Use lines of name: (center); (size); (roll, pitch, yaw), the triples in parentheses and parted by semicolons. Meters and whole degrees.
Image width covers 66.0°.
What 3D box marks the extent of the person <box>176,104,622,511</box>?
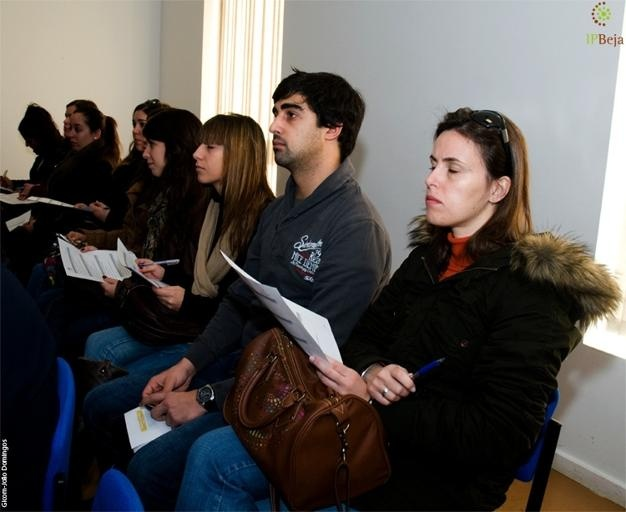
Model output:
person: (0.336, 0.109, 1.929); (1.251, 1.714, 0.881); (15, 5, -8)

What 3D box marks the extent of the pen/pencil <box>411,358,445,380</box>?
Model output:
pen/pencil: (0.318, 0.308, 1.316); (0.021, 0.018, 0.139); (26, -32, -11)

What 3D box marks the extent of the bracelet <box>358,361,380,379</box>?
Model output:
bracelet: (0.162, 0.326, 1.395); (0.042, 0.046, 0.039); (5, 3, -39)

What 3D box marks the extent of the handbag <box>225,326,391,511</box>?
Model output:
handbag: (-0.039, 0.427, 1.261); (0.266, 0.340, 0.455); (-9, 21, -39)

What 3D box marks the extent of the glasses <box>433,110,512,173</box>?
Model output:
glasses: (0.527, -0.327, 1.449); (0.154, 0.215, 0.059); (7, 14, 34)

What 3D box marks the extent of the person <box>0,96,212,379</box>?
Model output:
person: (-0.957, -0.048, 2.738); (0.991, 1.782, 0.973); (10, -7, -26)

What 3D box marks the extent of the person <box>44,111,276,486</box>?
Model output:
person: (-0.804, 0.184, 2.253); (0.916, 1.871, 0.735); (4, 24, -45)

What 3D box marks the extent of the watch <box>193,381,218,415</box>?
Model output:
watch: (-0.345, 0.463, 1.577); (0.087, 0.102, 0.055); (-6, -3, -39)

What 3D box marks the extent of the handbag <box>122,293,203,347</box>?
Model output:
handbag: (-0.627, 0.257, 1.999); (0.260, 0.228, 0.109); (1, -25, -22)
